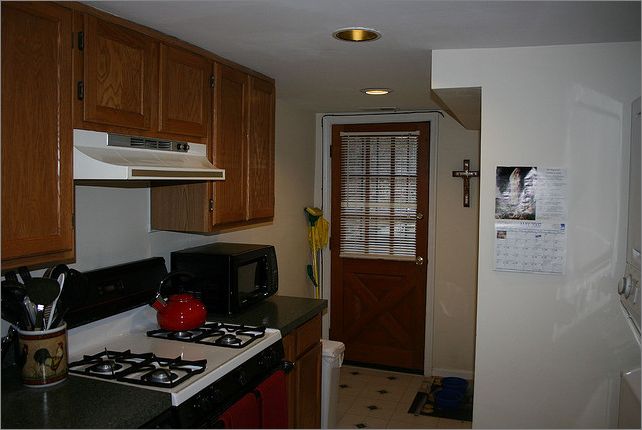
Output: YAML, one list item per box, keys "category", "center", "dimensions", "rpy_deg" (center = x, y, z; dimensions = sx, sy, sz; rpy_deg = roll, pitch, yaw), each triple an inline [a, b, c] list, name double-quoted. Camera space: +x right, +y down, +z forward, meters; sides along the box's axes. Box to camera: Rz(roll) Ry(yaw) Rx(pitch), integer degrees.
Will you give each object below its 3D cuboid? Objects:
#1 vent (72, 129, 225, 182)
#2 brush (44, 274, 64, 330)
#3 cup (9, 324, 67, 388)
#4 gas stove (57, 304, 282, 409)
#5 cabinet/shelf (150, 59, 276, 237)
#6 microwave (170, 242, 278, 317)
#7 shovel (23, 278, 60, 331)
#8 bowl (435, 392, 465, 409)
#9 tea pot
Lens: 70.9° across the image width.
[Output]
- category: "vent"
  center: [-0.890, -0.281, 2.247]
  dimensions: [0.229, 0.233, 0.792]
  rpy_deg: [2, 4, 29]
- category: "brush"
  center: [-1.266, 0.408, 2.136]
  dimensions: [0.068, 0.258, 0.037]
  rpy_deg: [15, 5, -22]
- category: "cup"
  center: [-1.297, 0.671, 2.135]
  dimensions: [0.302, 0.261, 0.185]
  rpy_deg: [-1, -2, 18]
- category: "gas stove"
  center: [-0.866, 0.715, 2.539]
  dimensions: [0.860, 0.142, 0.942]
  rpy_deg: [8, 11, 28]
- category: "cabinet/shelf"
  center: [-0.702, -0.442, 2.811]
  dimensions: [0.450, 1.076, 1.185]
  rpy_deg: [0, 1, 17]
- category: "microwave"
  center: [-0.674, 0.402, 3.165]
  dimensions: [0.456, 0.377, 0.624]
  rpy_deg: [1, 5, 18]
- category: "shovel"
  center: [-1.305, 0.409, 2.085]
  dimensions: [0.108, 0.288, 0.058]
  rpy_deg: [3, 15, -8]
- category: "bowl"
  center: [1.172, 1.683, 4.085]
  dimensions: [0.285, 0.137, 0.167]
  rpy_deg: [3, 10, 0]
- category: "tea pot"
  center: [-0.879, 0.524, 2.844]
  dimensions: [0.294, 0.361, 0.406]
  rpy_deg: [0, 0, 40]
